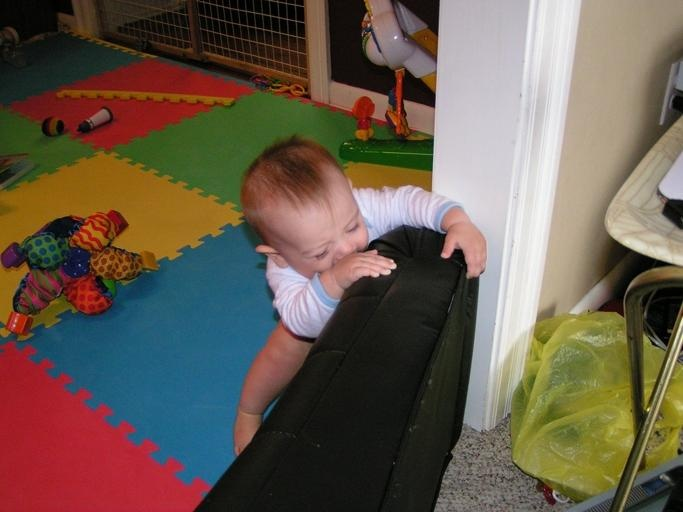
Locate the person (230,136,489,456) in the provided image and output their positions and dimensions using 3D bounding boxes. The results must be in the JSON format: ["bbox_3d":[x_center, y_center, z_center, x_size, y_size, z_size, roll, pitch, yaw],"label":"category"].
[{"bbox_3d":[0.023,0.154,1.286,0.591,0.735,0.477,11,38,16],"label":"person"}]
